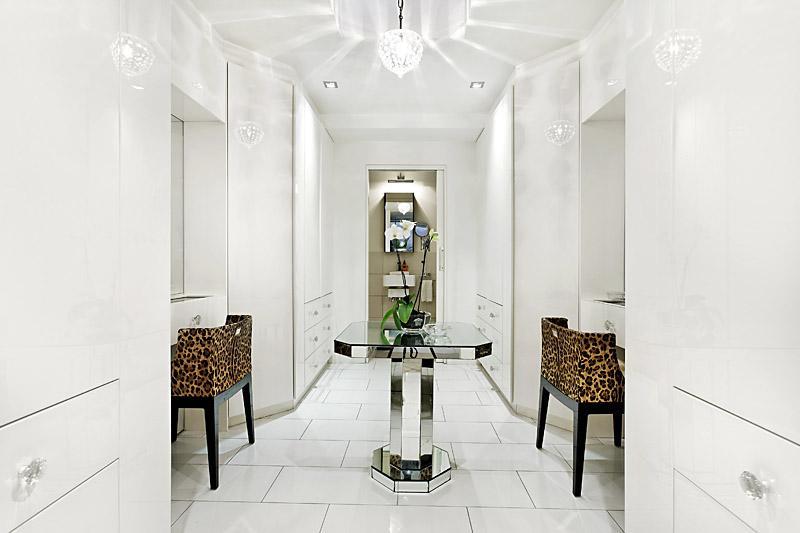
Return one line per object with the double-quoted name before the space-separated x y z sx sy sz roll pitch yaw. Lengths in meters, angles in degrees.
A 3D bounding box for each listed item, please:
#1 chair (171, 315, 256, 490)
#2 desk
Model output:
"chair" -1.197 0.816 3.440 0.390 0.921 0.689 0 7 -3
"desk" 0.066 0.860 3.431 0.928 0.878 0.669 0 7 -4
